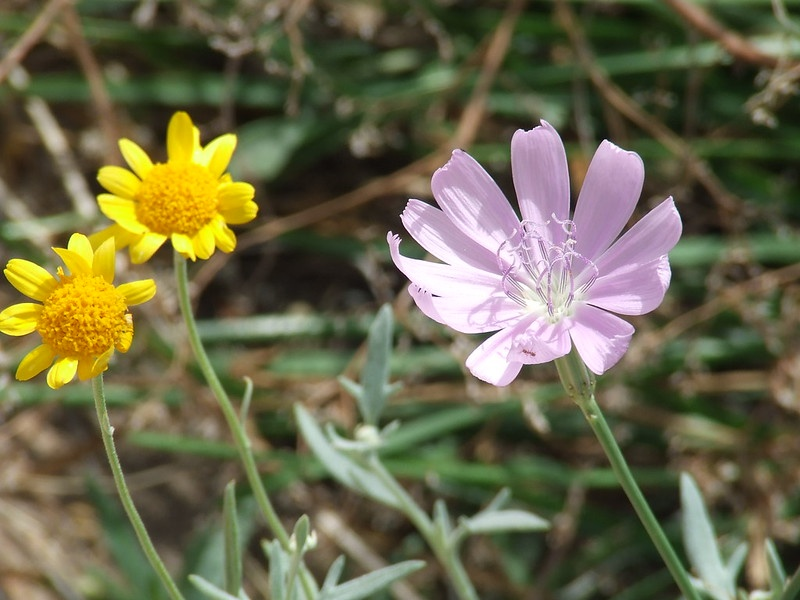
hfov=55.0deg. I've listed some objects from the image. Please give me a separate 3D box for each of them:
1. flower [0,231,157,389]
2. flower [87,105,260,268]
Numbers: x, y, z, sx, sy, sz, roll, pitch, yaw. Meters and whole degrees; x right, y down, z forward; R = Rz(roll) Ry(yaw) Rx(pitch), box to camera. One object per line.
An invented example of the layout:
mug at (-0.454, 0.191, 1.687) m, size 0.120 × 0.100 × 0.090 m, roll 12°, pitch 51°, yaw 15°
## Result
flower at (-0.794, 0.057, 2.080) m, size 0.413 × 0.400 × 0.177 m, roll 6°, pitch -6°, yaw 33°
flower at (-0.613, -0.274, 2.171) m, size 0.466 × 0.427 × 0.166 m, roll 3°, pitch -10°, yaw 2°
